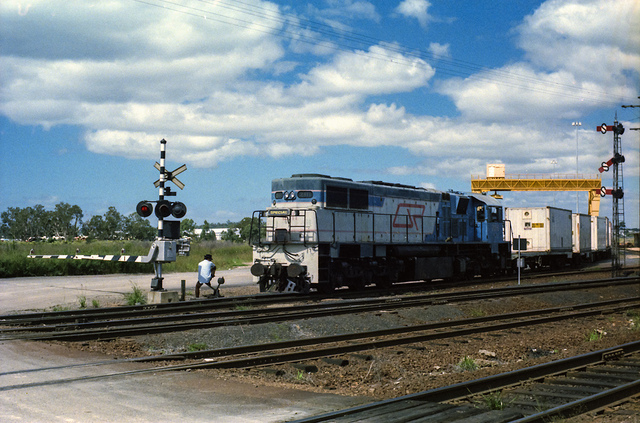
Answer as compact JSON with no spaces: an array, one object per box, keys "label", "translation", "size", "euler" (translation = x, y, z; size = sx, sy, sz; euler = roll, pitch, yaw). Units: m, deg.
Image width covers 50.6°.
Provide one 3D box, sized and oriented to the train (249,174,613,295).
[{"label":"train","translation":[5.116,1.119,34.751],"size":[4.135,5.044,24.268],"euler":[3,0,34]}]
